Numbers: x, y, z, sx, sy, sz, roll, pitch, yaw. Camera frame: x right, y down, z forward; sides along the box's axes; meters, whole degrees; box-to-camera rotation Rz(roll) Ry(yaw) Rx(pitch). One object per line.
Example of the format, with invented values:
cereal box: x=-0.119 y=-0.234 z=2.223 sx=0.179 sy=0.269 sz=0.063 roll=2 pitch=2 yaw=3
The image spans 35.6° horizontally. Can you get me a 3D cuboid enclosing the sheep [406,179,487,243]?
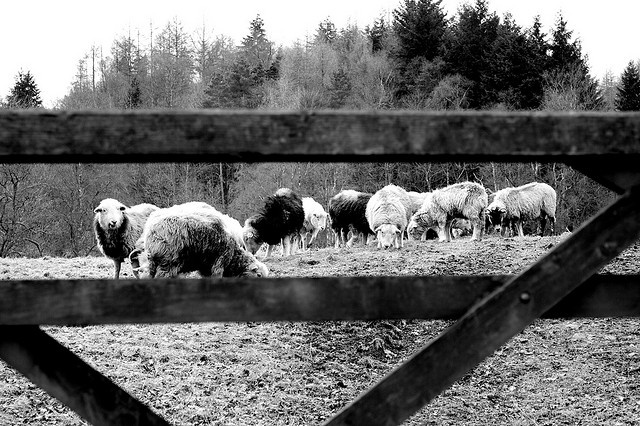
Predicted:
sheep: x=4.903 y=0.026 z=37.877 sx=3.004 sy=2.486 sz=1.070 roll=10 pitch=11 yaw=39

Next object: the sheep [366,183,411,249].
sheep: x=2.563 y=0.031 z=37.498 sx=1.783 sy=1.948 sz=5.711 roll=3 pitch=9 yaw=5

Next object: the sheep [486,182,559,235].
sheep: x=8.382 y=-0.227 z=41.988 sx=4.048 sy=2.566 sz=1.532 roll=-3 pitch=-2 yaw=-21

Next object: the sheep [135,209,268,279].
sheep: x=-3.337 y=0.840 z=26.954 sx=2.927 sy=1.861 sz=0.913 roll=2 pitch=9 yaw=-5

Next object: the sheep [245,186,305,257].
sheep: x=-1.586 y=0.272 z=35.193 sx=1.835 sy=2.487 sz=3.738 roll=0 pitch=6 yaw=-2
